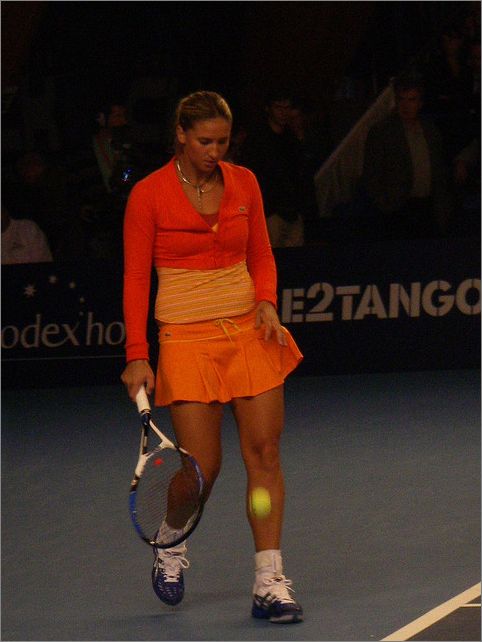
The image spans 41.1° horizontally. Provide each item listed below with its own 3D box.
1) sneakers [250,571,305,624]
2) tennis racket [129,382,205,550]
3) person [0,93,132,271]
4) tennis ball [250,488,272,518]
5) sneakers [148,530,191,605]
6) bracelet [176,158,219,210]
[{"bbox_3d":[0.100,0.779,1.810,0.125,0.128,0.143,-1,-9,-12],"label":"sneakers"},{"bbox_3d":[-0.194,0.383,1.645,0.183,0.441,0.365,-2,-9,-8],"label":"tennis racket"},{"bbox_3d":[-1.618,-1.315,6.076,1.132,1.429,0.300,-3,-10,1],"label":"person"},{"bbox_3d":[0.051,0.513,1.791,0.059,0.082,0.056,-3,-9,-1],"label":"tennis ball"},{"bbox_3d":[-0.216,0.710,1.971,0.116,0.269,0.126,-2,-17,-26],"label":"sneakers"},{"bbox_3d":[-0.124,-0.385,1.822,0.100,0.143,0.023,0,-10,-19],"label":"bracelet"}]
